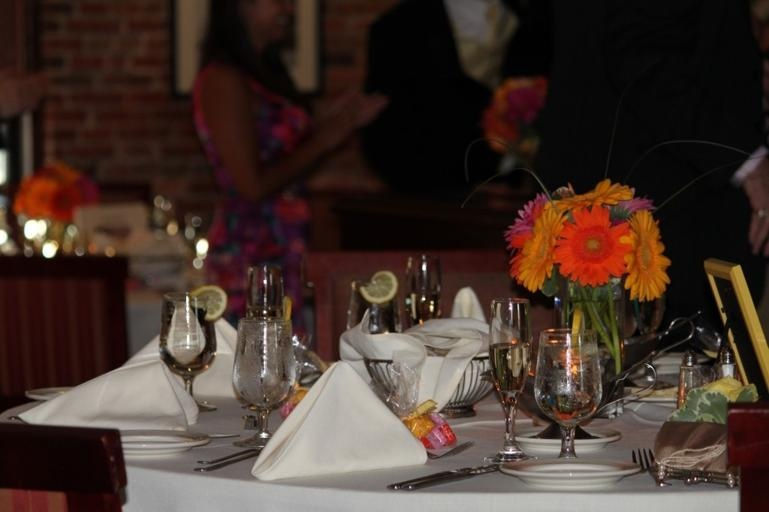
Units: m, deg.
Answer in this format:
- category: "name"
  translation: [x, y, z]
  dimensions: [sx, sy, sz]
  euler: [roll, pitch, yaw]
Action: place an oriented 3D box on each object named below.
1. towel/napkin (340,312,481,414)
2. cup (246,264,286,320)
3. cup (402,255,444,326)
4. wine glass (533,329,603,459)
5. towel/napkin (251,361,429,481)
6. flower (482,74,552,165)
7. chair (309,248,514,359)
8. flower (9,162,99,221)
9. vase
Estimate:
- category: "towel/napkin"
  translation: [0.103, 0.215, 1.994]
  dimensions: [0.206, 0.118, 0.222]
  euler: [2, 15, 10]
- category: "cup"
  translation: [-0.274, 0.086, 2.121]
  dimensions: [0.097, 0.181, 0.109]
  euler: [0, 0, -8]
- category: "cup"
  translation: [0.094, 0.089, 2.310]
  dimensions: [0.110, 0.194, 0.119]
  euler: [0, 8, 0]
- category: "wine glass"
  translation: [0.354, 0.272, 1.755]
  dimensions: [0.115, 0.268, 0.130]
  euler: [-1, 3, 5]
- category: "towel/napkin"
  translation: [-0.084, 0.276, 1.711]
  dimensions: [0.204, 0.087, 0.210]
  euler: [-9, 12, -10]
- category: "flower"
  translation: [0.770, -0.696, 4.838]
  dimensions: [0.509, 0.217, 0.669]
  euler: [-18, -4, 12]
- category: "chair"
  translation: [0.031, 0.071, 2.841]
  dimensions: [0.516, 0.443, 0.324]
  euler: [0, -13, -4]
- category: "flower"
  translation: [-1.658, -0.300, 4.414]
  dimensions: [0.313, 0.320, 0.288]
  euler: [-1, -6, -21]
- category: "vase"
  translation: [0.427, 0.137, 1.929]
  dimensions: [0.127, 0.355, 0.130]
  euler: [-1, 17, 28]
